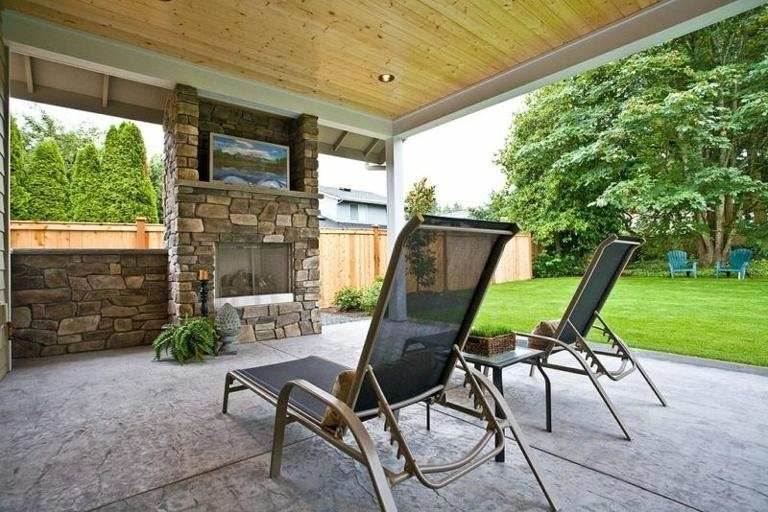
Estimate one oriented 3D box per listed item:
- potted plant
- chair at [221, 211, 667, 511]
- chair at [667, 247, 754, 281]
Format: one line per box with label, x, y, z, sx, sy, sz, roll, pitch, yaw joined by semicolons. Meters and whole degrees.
potted plant;-2.590;1.100;5.928;0.696;0.382;0.733;5;9;43
chair;-0.088;0.808;4.071;3.351;1.459;2.656;1;0;-43
chair;6.006;0.127;8.127;0.639;0.546;1.464;0;1;-15
